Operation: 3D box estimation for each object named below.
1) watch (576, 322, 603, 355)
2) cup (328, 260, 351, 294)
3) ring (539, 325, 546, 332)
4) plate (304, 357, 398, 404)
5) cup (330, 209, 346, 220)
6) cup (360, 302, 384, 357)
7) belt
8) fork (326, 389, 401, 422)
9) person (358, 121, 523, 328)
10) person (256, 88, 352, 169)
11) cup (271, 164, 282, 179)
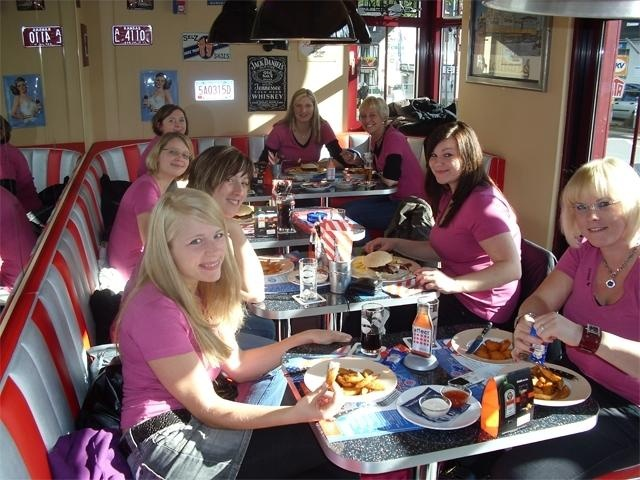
[{"bbox_3d":[0.992,0.361,1.569,0.073,0.111,0.111,22,-15,23],"label":"watch"},{"bbox_3d":[0.098,0.189,2.228,0.168,0.209,0.147,1,6,0],"label":"cup"},{"bbox_3d":[0.813,0.322,1.549,0.022,0.022,0.006,12,-10,29],"label":"ring"},{"bbox_3d":[0.153,0.487,1.471,0.235,0.027,0.242,9,11,34],"label":"plate"},{"bbox_3d":[0.129,-0.176,3.018,0.109,0.105,0.106,1,9,0],"label":"cup"},{"bbox_3d":[0.194,0.364,1.698,0.148,0.168,0.145,3,-5,0],"label":"cup"},{"bbox_3d":[-0.550,0.645,1.450,0.211,0.058,0.094,-10,19,-31],"label":"belt"},{"bbox_3d":[0.146,0.541,1.372,0.228,0.033,0.065,-10,40,-23],"label":"fork"},{"bbox_3d":[0.755,0.091,2.680,1.043,1.485,0.806,4,9,33],"label":"person"},{"bbox_3d":[-0.186,-1.240,4.969,1.125,0.937,0.696,-3,21,-4],"label":"person"},{"bbox_3d":[-0.422,-0.714,4.467,0.101,0.147,0.160,0,0,32],"label":"cup"}]
